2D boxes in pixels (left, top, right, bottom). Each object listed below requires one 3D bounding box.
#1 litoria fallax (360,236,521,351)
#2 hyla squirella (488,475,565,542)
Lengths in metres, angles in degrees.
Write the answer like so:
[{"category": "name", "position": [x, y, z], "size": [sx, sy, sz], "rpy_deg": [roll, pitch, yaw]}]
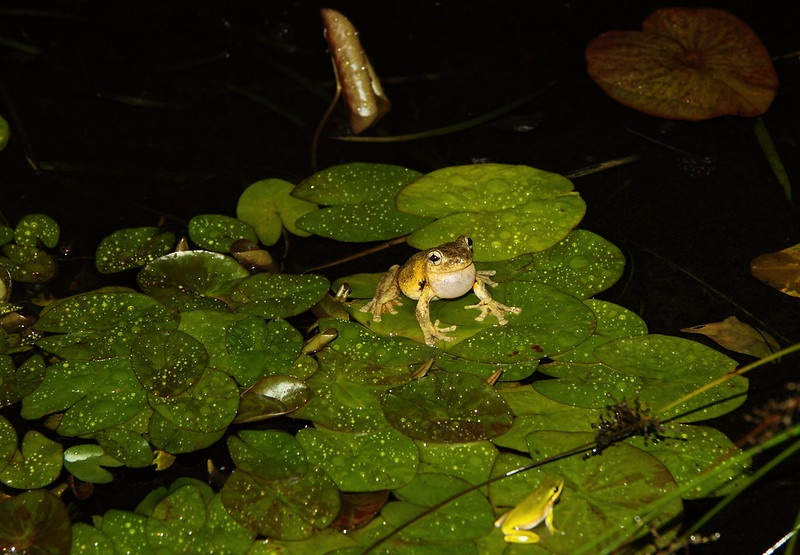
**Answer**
[{"category": "litoria fallax", "position": [0.103, 0.021, 2.250], "size": [0.453, 0.192, 0.359], "rpy_deg": [-19, 37, -21]}, {"category": "hyla squirella", "position": [0.360, 0.603, 1.991], "size": [0.227, 0.084, 0.165], "rpy_deg": [-32, 20, 0]}]
